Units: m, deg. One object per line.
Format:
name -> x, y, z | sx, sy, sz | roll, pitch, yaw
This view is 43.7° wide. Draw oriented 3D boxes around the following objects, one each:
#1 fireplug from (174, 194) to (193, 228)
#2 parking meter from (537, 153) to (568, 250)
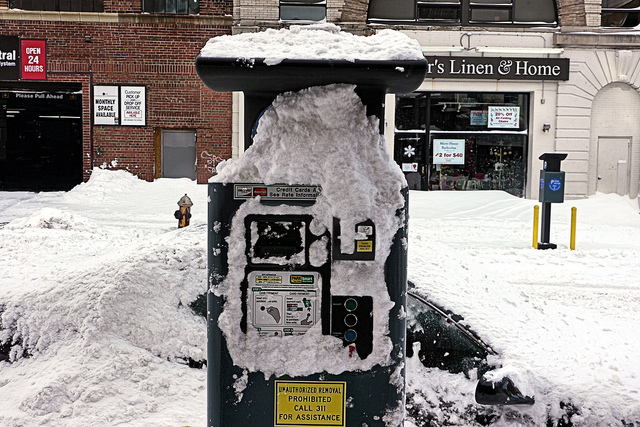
fireplug -> -2.899, -0.036, 16.785 | 0.313, 0.727, 1.063 | 1, 4, -9
parking meter -> 5.364, -0.277, 18.289 | 0.547, 2.182, 0.587 | 2, 4, 17
